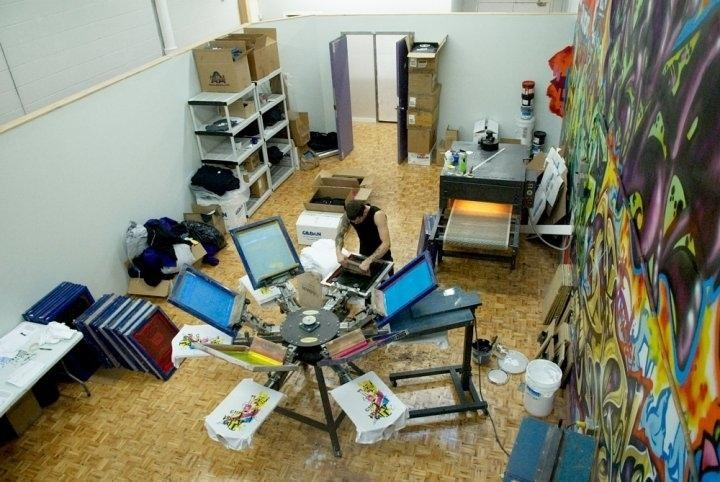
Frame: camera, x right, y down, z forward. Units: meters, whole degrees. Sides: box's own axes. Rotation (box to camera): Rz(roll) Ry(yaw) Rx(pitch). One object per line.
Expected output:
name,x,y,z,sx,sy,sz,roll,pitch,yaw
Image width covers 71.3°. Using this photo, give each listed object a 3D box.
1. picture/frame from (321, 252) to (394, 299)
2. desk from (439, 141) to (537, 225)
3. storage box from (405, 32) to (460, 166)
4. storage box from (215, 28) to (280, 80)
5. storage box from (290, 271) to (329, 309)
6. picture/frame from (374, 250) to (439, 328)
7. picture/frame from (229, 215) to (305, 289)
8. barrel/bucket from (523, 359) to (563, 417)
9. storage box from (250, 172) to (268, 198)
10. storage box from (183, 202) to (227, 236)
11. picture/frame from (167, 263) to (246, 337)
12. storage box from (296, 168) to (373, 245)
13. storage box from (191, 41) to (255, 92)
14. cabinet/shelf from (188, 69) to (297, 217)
picture/frame,0.003,0.386,5.308,0.503,0.115,0.509,18,43,38
desk,1.644,-0.808,6.637,1.106,0.598,1.107,5,36,10
storage box,1.169,-2.380,8.180,0.780,1.963,1.546,8,41,13
storage box,-1.696,-2.873,7.641,0.919,0.674,0.917,-7,44,10
storage box,-0.539,0.534,5.364,0.366,0.354,0.123,-16,10,39
picture/frame,0.400,0.443,4.525,0.763,0.231,0.439,-35,60,12
picture/frame,-0.913,0.109,4.921,0.522,0.476,0.508,-19,38,-22
barrel/bucket,1.736,1.410,4.804,0.319,0.439,0.383,14,39,23
storage box,-1.577,-0.872,7.780,0.154,0.276,0.289,13,56,12
storage box,-2.172,-0.292,7.017,0.541,0.445,0.249,4,36,9
picture/frame,-1.389,0.554,4.612,0.800,0.284,0.456,26,60,-18
storage box,-0.433,-0.556,7.249,0.932,0.412,1.166,5,44,20
storage box,-1.917,-2.463,7.046,0.674,0.590,0.537,3,36,9
cabinet/shelf,-1.753,-1.914,7.622,0.483,1.285,1.418,-1,15,28
